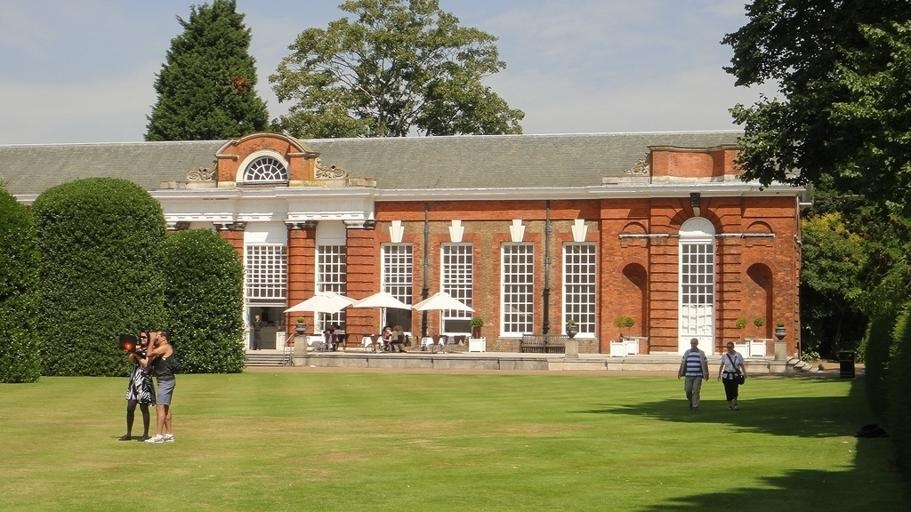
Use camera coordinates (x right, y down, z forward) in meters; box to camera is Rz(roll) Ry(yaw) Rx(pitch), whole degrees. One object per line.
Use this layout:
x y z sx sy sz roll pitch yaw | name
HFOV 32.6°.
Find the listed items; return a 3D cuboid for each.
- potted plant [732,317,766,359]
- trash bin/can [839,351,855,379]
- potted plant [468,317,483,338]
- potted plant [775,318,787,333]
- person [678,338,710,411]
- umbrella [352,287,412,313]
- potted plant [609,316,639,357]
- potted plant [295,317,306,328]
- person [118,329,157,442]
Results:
13.200 3.813 70.103 2.117 2.015 1.626 0 -9 4 | potted plant
16.024 4.489 63.915 0.558 1.069 0.620 2 8 5 | trash bin/can
0.980 3.488 74.473 1.075 1.039 0.898 1 -1 -4 | potted plant
14.524 3.226 69.969 0.680 0.587 0.586 1 -3 -8 | potted plant
8.469 4.308 55.991 1.263 2.348 1.085 0 -1 9 | person
-3.564 2.268 73.021 2.453 1.089 3.429 1 7 -3 | umbrella
7.824 3.827 72.037 2.067 2.302 1.521 -1 -11 4 | potted plant
-7.291 3.244 73.105 0.715 0.535 0.532 0 -11 -5 | potted plant
-10.336 4.251 50.683 1.310 3.367 1.322 3 -6 11 | person
